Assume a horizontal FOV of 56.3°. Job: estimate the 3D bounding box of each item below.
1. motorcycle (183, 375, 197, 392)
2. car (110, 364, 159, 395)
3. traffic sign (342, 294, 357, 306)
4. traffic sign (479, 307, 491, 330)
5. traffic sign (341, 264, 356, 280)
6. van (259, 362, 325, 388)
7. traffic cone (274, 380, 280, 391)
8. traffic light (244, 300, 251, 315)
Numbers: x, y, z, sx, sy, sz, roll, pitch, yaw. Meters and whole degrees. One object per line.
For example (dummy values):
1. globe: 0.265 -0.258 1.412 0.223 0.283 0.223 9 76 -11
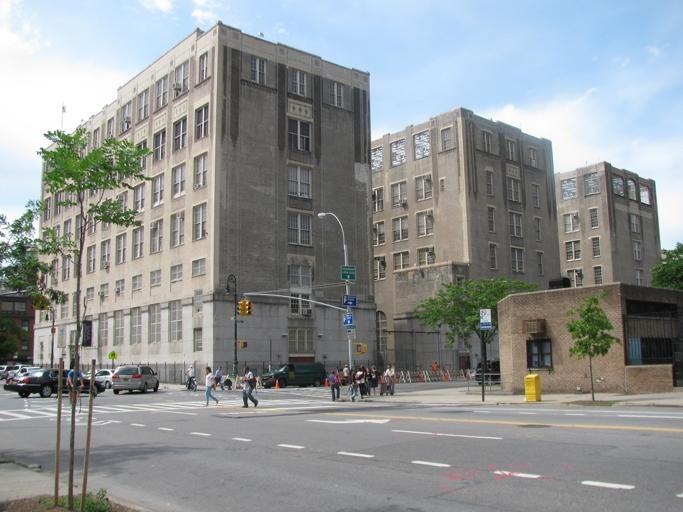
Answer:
1. motorcycle: -11.937 10.246 51.316 0.736 0.979 1.479 5 -8 -25
2. car: -15.030 9.011 46.646 1.907 2.109 3.453 -7 -16 22
3. traffic sign: 0.494 2.740 39.823 0.787 0.808 0.721 -6 -15 17
4. traffic sign: 7.295 3.175 32.404 0.531 1.081 1.251 -3 -14 9
5. traffic sign: 0.453 1.126 43.481 1.230 1.170 0.186 7 -8 -38
6. van: -4.044 10.052 53.551 4.202 1.700 2.318 9 -19 -34
7. traffic cone: -5.099 10.269 51.060 0.573 0.889 0.608 6 -16 -30
8. traffic light: -6.792 3.741 46.764 0.321 1.045 0.662 -2 -14 6
